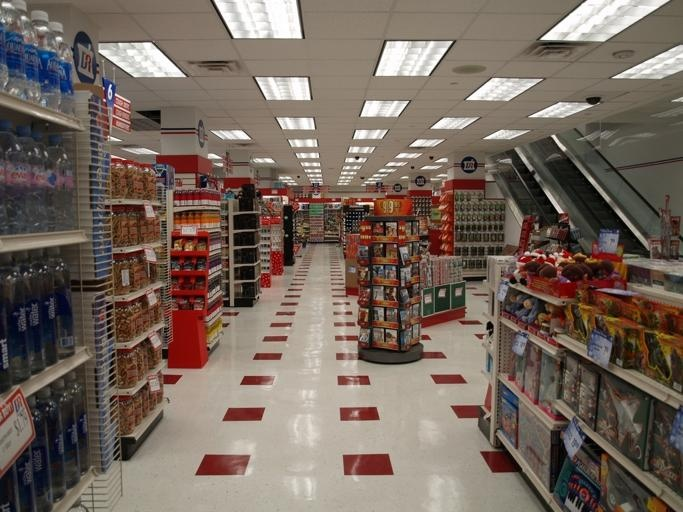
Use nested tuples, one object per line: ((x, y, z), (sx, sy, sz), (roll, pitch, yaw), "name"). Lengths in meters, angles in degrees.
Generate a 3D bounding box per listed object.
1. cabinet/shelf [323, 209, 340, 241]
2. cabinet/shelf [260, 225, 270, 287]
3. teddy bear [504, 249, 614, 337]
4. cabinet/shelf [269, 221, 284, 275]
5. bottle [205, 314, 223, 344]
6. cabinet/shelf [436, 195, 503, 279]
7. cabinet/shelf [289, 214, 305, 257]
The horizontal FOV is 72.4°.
((-0.701, -1.991, 29.379), (0.920, 2.121, 0.544), (-2, 7, -17), "cabinet/shelf")
((-1.773, 0.024, 10.721), (0.192, 1.338, 0.352), (-1, 7, -4), "cabinet/shelf")
((1.420, 0.233, 3.122), (0.636, 0.237, 0.463), (-10, 12, -37), "teddy bear")
((-1.764, -0.270, 12.454), (0.293, 1.576, 0.805), (-1, 7, -9), "cabinet/shelf")
((-1.648, 0.929, 5.924), (0.070, 0.279, 0.298), (0, 4, 12), "bottle")
((3.484, -0.635, 12.261), (1.707, 2.207, 0.762), (0, 7, 4), "cabinet/shelf")
((-1.883, -0.872, 19.155), (0.668, 1.985, 2.082), (0, 1, 4), "cabinet/shelf")
